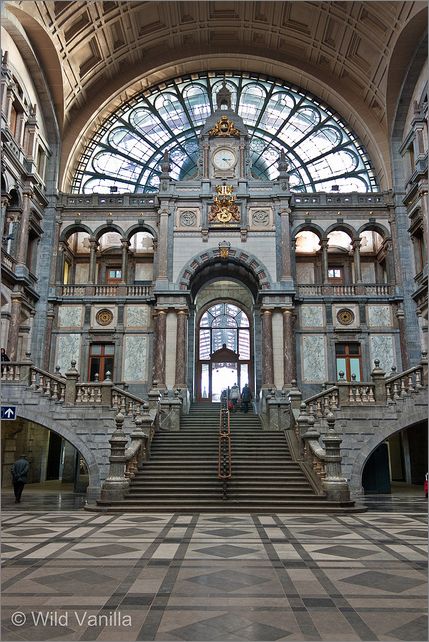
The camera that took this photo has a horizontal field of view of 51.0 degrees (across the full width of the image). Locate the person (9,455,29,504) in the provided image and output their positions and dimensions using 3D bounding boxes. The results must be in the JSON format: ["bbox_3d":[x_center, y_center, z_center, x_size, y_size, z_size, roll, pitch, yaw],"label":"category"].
[{"bbox_3d":[-5.866,4.724,13.532,0.433,1.323,2.062,5,-16,-22],"label":"person"}]
